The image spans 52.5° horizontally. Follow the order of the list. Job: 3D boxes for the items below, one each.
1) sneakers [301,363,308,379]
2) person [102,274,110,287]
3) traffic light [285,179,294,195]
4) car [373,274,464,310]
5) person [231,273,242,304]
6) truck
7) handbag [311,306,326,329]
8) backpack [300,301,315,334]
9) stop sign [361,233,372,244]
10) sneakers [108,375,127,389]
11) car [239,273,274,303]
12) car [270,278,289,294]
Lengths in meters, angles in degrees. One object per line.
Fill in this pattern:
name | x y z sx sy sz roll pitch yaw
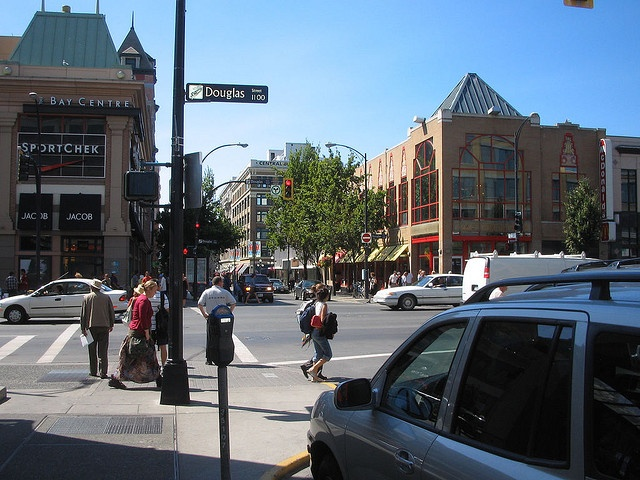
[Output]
sneakers | -0.276 2.402 11.671 0.106 0.315 0.096 -8 7 -4
person | -9.762 1.847 29.536 0.220 0.934 0.623 -5 9 -16
traffic light | -1.421 -2.285 28.766 0.388 0.668 1.340 -13 -5 -6
car | 4.311 2.347 28.426 3.782 1.332 1.627 1 -6 -7
person | -4.700 2.777 36.241 0.743 0.863 1.381 1 -14 -9
truck | 7.299 1.773 22.442 4.342 2.994 2.249 3 -2 -13
handbag | -0.020 1.378 11.484 0.283 0.491 0.251 8 -3 -10
backpack | -0.211 1.439 11.920 0.361 0.777 0.512 1 -6 -1
stop sign | 2.881 -0.108 39.941 0.728 0.813 0.153 1 4 -21
sneakers | -3.346 2.345 10.682 0.348 0.163 0.120 28 -6 -24
car | -3.560 2.675 36.018 1.084 1.230 2.208 1 -12 -16
car | -3.339 3.761 52.937 0.919 0.794 2.156 1 -9 -14
